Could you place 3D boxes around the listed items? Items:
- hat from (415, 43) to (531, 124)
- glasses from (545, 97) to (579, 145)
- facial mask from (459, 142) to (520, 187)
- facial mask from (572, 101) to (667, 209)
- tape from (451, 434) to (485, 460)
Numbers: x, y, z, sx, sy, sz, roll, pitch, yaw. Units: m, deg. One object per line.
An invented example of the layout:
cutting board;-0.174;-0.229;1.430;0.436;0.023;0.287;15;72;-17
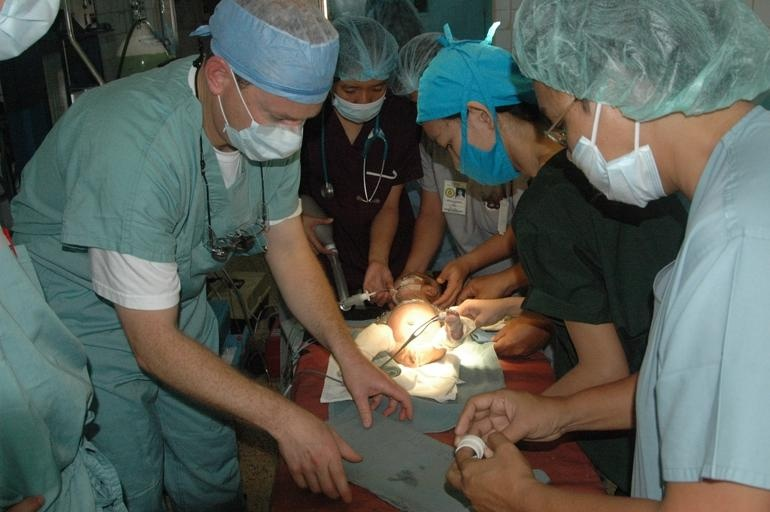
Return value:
hat;0.324;-0.602;2.335;0.344;0.203;0.249;-7;39;19
glasses;0.487;-0.360;1.707;0.024;0.080;0.086;18;80;0
facial mask;0.412;-0.340;2.474;0.236;0.199;0.129;7;46;38
facial mask;0.611;-0.267;1.606;0.102;0.182;0.186;-46;49;-6
tape;0.239;0.536;1.780;0.035;0.059;0.066;-43;27;-11
